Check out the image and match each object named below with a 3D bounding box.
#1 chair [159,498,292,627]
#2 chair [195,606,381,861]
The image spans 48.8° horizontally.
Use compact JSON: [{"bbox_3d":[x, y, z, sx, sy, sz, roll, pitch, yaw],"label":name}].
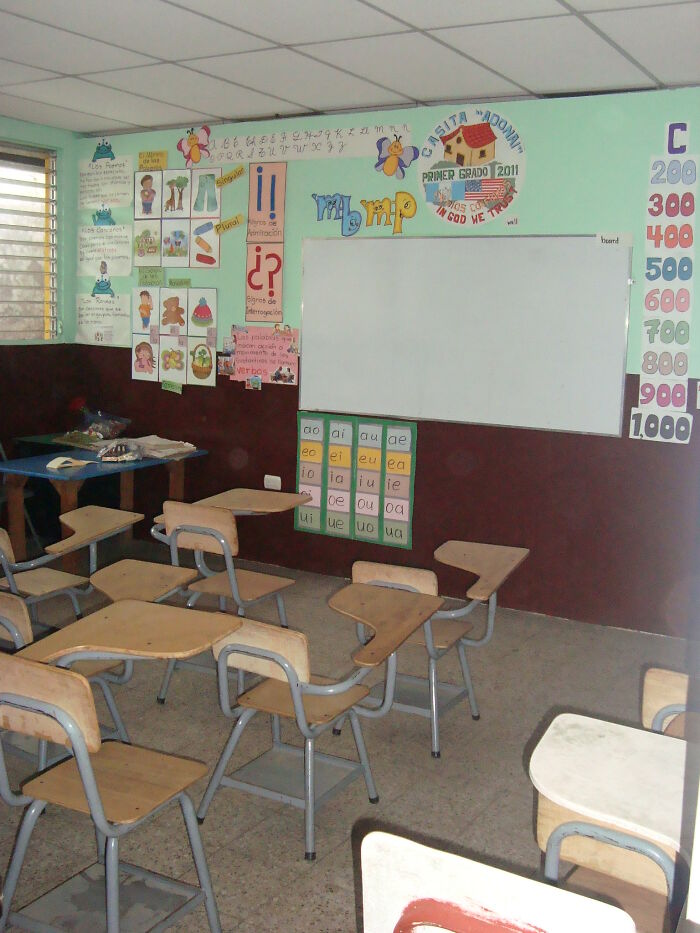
[{"bbox_3d":[-0.528,0.476,3.326,0.413,0.706,0.521,6,10,30],"label":"chair"},{"bbox_3d":[-0.179,0.713,2.206,0.485,0.585,0.446,2,7,7],"label":"chair"}]
